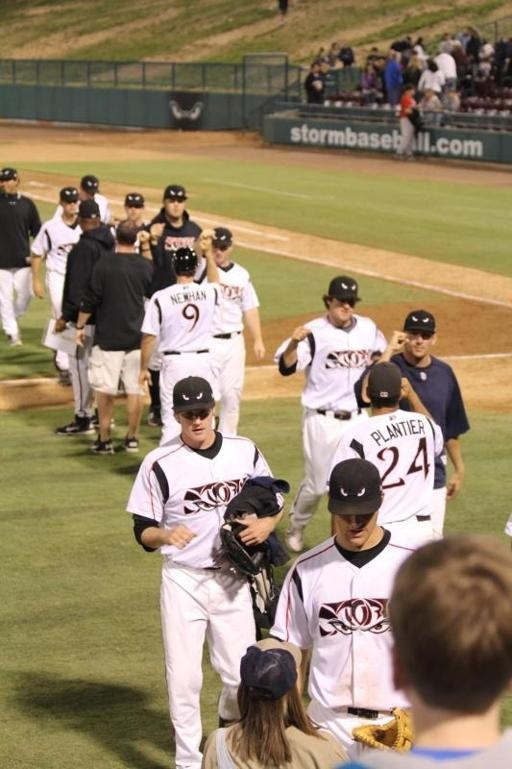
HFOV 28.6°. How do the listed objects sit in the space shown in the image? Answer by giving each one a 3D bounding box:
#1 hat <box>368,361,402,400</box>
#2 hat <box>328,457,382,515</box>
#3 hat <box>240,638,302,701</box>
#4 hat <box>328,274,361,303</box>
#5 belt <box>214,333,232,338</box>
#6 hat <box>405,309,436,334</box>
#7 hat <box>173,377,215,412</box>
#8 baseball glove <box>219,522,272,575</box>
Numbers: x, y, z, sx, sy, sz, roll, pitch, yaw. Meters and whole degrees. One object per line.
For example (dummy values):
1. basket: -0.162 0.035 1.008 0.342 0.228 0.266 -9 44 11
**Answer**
1. hat: 0.574 -0.018 4.571 0.123 0.095 0.176 2 31 5
2. hat: 0.312 0.315 3.276 0.153 0.108 0.192 2 35 7
3. hat: 0.049 0.816 2.899 0.132 0.080 0.168 12 37 22
4. hat: 0.534 -0.575 6.089 0.151 0.110 0.192 3 15 -14
5. belt: -0.266 -0.381 8.034 0.129 0.045 0.025 -1 14 -9
6. hat: 0.873 -0.331 5.406 0.155 0.116 0.190 2 13 6
7. hat: -0.257 0.045 4.048 0.127 0.088 0.162 -3 8 -3
8. baseball glove: -0.054 0.640 3.868 0.093 0.159 0.226 -27 4 -4
